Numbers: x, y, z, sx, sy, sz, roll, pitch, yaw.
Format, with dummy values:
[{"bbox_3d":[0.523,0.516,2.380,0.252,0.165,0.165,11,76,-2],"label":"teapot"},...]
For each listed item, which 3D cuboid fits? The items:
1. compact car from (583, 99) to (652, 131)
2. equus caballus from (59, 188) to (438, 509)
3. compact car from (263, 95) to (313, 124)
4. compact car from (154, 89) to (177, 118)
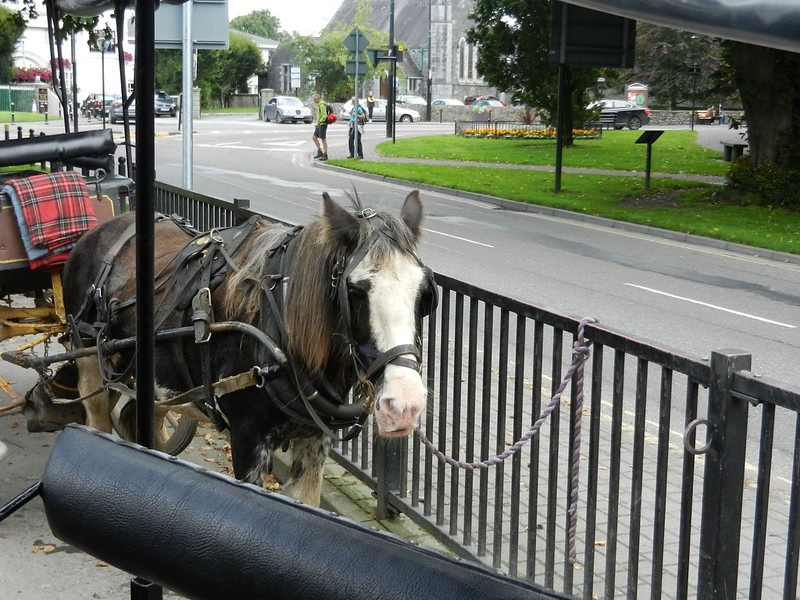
[{"bbox_3d":[15.866,-13.164,55.882,4.272,2.201,1.626,2,6,-24],"label":"compact car"},{"bbox_3d":[-0.895,0.249,4.424,2.911,1.738,0.591,10,8,41],"label":"equus caballus"},{"bbox_3d":[-8.403,-14.157,58.372,3.490,2.152,2.004,7,6,22],"label":"compact car"},{"bbox_3d":[-16.895,-14.136,56.625,1.442,2.393,8.016,2,7,-17],"label":"compact car"}]
